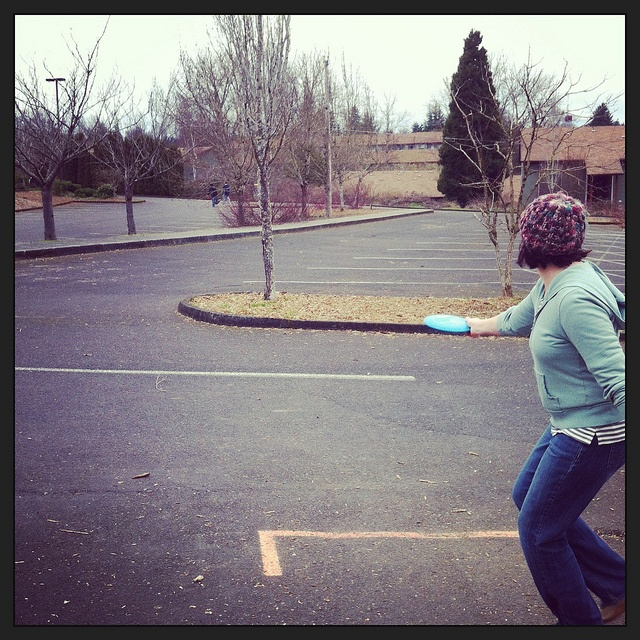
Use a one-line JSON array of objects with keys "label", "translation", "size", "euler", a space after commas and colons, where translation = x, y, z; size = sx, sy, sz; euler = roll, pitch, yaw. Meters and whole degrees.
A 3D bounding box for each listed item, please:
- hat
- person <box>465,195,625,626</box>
[{"label": "hat", "translation": [1.012, -0.432, 3.535], "size": [0.264, 0.274, 0.274], "euler": [2, 22, 9]}, {"label": "person", "translation": [1.068, 0.446, 3.524], "size": [0.565, 1.973, 0.710], "euler": [4, 11, 23]}]
